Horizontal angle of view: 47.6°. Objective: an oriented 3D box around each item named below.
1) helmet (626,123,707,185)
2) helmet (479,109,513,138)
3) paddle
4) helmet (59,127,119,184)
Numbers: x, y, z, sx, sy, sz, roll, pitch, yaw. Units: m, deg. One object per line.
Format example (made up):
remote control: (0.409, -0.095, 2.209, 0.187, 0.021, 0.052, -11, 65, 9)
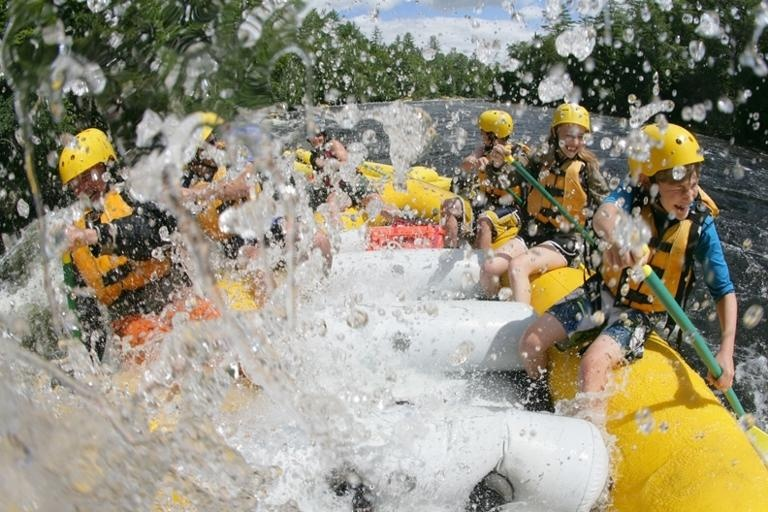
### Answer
helmet: (2.679, -0.964, 8.380, 0.602, 0.528, 0.437, 35, 37, 29)
helmet: (1.371, -1.658, 10.761, 0.385, 0.314, 0.296, 32, 22, 6)
paddle: (3.163, 1.119, 8.695, 0.198, 0.285, 1.935, -31, 86, -31)
helmet: (-3.038, -1.021, 8.897, 0.412, 0.501, 0.565, -21, 6, 35)
